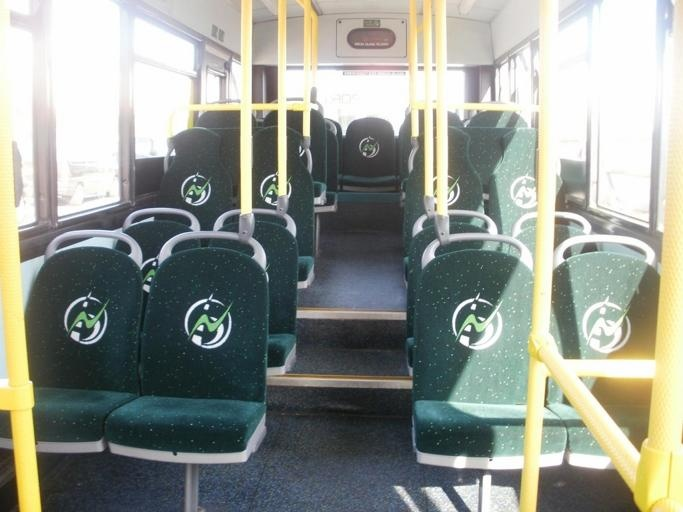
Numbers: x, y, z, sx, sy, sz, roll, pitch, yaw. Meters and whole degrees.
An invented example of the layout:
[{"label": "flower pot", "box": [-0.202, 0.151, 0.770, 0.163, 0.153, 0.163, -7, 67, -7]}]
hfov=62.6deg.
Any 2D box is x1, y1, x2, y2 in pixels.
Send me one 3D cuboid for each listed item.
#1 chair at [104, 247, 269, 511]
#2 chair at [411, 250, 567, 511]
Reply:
[{"label": "chair", "box": [-0.623, 0.571, 2.409, 0.613, 1.163, 0.719, 0, 12, -5]}, {"label": "chair", "box": [0.580, 0.519, 2.241, 0.581, 1.013, 0.428, 2, 11, 6]}]
